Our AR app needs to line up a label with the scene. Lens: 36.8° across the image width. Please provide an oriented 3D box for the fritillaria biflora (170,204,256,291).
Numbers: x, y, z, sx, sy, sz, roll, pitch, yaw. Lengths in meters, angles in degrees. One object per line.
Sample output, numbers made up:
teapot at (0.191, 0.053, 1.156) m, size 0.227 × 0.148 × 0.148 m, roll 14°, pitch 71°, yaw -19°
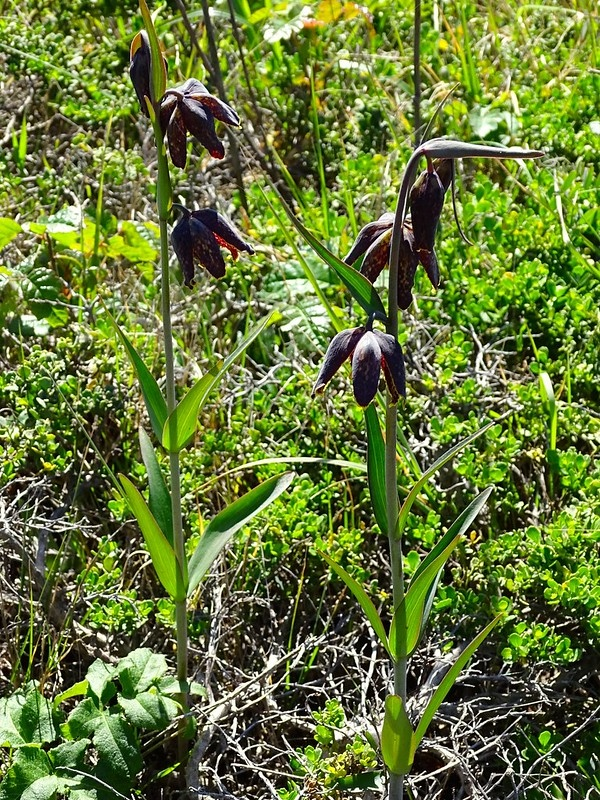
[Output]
fritillaria biflora at (-0.182, -0.324, 1.855) m, size 0.162 × 0.162 × 0.172 m, roll -9°, pitch 18°, yaw -20°

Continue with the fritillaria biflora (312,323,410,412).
fritillaria biflora at (0.113, -0.069, 1.614) m, size 0.150 × 0.156 × 0.144 m, roll 11°, pitch 22°, yaw 39°

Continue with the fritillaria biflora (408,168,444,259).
fritillaria biflora at (0.230, -0.348, 1.634) m, size 0.062 × 0.154 × 0.091 m, roll 0°, pitch 16°, yaw 9°

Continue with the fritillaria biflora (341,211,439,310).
fritillaria biflora at (0.187, -0.309, 1.734) m, size 0.166 × 0.195 × 0.229 m, roll -2°, pitch 40°, yaw 9°

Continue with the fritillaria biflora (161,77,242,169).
fritillaria biflora at (-0.206, -0.554, 1.791) m, size 0.145 × 0.164 × 0.162 m, roll -15°, pitch 21°, yaw -35°
